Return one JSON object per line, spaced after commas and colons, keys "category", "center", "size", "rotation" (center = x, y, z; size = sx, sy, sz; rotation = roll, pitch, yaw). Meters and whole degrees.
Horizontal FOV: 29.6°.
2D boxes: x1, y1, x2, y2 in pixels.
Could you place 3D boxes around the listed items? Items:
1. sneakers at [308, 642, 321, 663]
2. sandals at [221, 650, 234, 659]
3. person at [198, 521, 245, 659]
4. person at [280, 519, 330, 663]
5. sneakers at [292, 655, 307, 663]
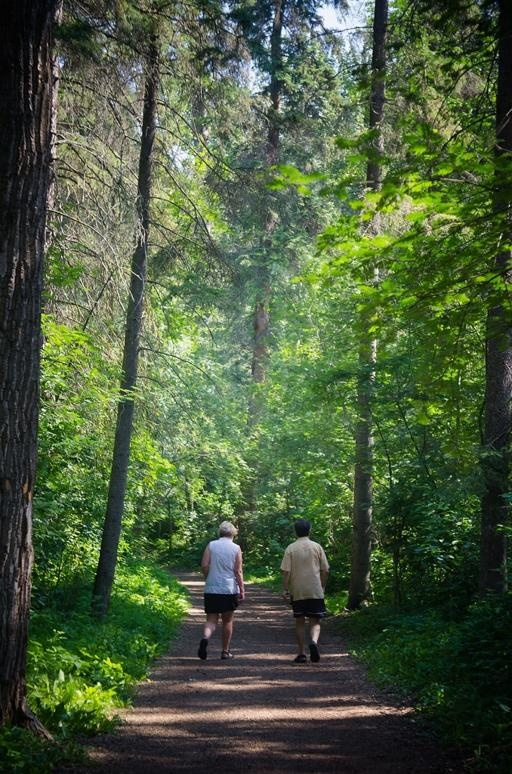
{"category": "sneakers", "center": [0.568, 2.647, 9.666], "size": [0.094, 0.236, 0.101], "rotation": [-5, 1, 20]}
{"category": "sandals", "center": [-0.302, 2.733, 9.937], "size": [0.055, 0.071, 0.164], "rotation": [2, -3, 8]}
{"category": "person", "center": [-0.383, 2.132, 10.270], "size": [0.446, 1.421, 1.375], "rotation": [5, -12, -2]}
{"category": "person", "center": [0.475, 2.065, 9.900], "size": [0.469, 1.451, 0.496], "rotation": [5, -11, 3]}
{"category": "sneakers", "center": [0.438, 2.731, 9.762], "size": [0.123, 0.090, 0.166], "rotation": [4, -12, 3]}
